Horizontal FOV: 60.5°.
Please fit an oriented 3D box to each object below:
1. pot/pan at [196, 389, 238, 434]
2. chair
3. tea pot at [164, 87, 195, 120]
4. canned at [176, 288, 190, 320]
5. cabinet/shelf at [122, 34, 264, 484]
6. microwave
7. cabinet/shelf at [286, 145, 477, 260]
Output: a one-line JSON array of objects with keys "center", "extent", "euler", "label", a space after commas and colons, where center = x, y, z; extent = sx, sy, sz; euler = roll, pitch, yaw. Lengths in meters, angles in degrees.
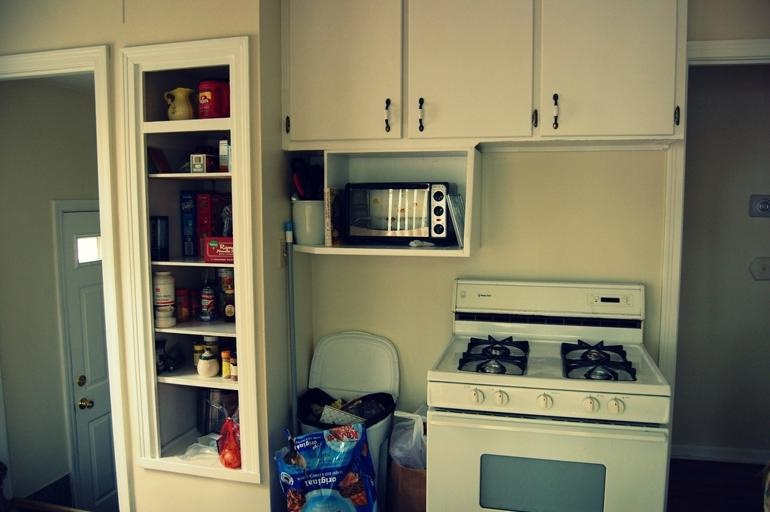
[{"center": [-0.929, 0.898, 3.756], "extent": [0.223, 0.302, 0.210], "euler": [10, -15, -38], "label": "pot/pan"}, {"center": [-0.201, 0.926, 3.715], "extent": [0.565, 0.974, 0.394], "euler": [0, 3, 1], "label": "chair"}, {"center": [-1.085, -0.804, 3.503], "extent": [0.150, 0.186, 0.133], "euler": [-1, 3, -17], "label": "tea pot"}, {"center": [-1.129, 0.264, 3.646], "extent": [0.126, 0.153, 0.124], "euler": [-1, 4, -9], "label": "canned"}, {"center": [-0.973, 0.030, 3.577], "extent": [0.733, 2.286, 0.363], "euler": [1, 3, 9], "label": "cabinet/shelf"}, {"center": [0.087, -0.243, 3.661], "extent": [0.561, 0.334, 0.341], "euler": [0, 2, 14], "label": "microwave"}, {"center": [0.111, -0.148, 3.691], "extent": [0.891, 0.566, 0.601], "euler": [0, 1, 14], "label": "cabinet/shelf"}]
